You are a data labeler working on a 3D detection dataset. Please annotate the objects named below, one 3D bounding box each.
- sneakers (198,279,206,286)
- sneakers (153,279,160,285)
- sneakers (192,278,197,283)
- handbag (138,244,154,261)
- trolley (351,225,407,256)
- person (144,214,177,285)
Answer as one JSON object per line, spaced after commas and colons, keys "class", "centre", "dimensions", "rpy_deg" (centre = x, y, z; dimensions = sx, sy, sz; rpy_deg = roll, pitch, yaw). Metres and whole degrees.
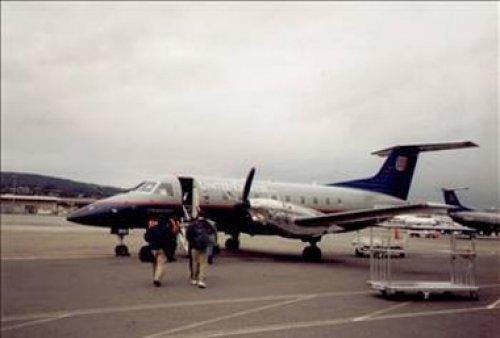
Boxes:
{"class": "sneakers", "centre": [-1.534, 3.518, 14.889], "dimensions": [0.272, 0.216, 0.388], "rpy_deg": [3, -2, -8]}
{"class": "sneakers", "centre": [-2.914, 3.472, 14.660], "dimensions": [0.253, 0.184, 0.144], "rpy_deg": [5, 0, 15]}
{"class": "sneakers", "centre": [-1.780, 3.530, 15.013], "dimensions": [0.152, 0.076, 0.137], "rpy_deg": [2, -2, 3]}
{"class": "handbag", "centre": [-3.258, 2.611, 14.845], "dimensions": [0.445, 0.533, 0.370], "rpy_deg": [3, -2, -11]}
{"class": "trolley", "centre": [6.508, 3.686, 24.035], "dimensions": [2.488, 1.211, 1.408], "rpy_deg": [-4, -6, 20]}
{"class": "person", "centre": [-2.874, 2.503, 14.819], "dimensions": [0.891, 2.122, 0.389], "rpy_deg": [4, -2, -17]}
